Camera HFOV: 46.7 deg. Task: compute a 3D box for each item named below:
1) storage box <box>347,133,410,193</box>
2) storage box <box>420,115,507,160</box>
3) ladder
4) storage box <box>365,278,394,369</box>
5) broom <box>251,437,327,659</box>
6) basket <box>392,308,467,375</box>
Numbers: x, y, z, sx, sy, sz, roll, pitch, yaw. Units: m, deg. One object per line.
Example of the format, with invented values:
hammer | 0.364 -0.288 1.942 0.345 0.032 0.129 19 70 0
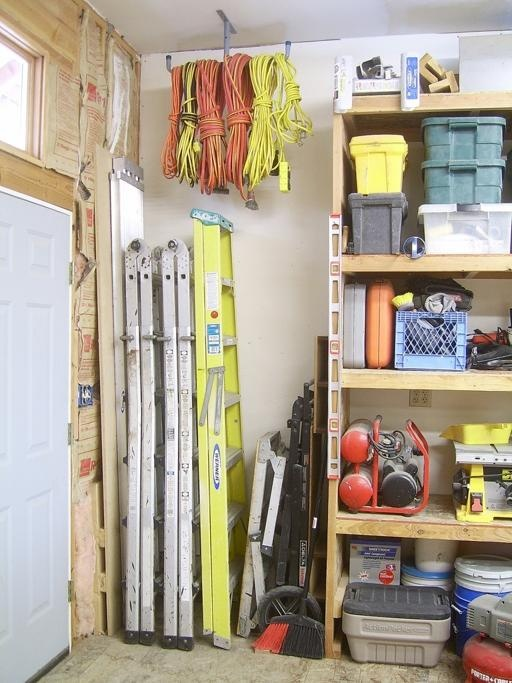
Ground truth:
storage box | 0.479 -0.690 2.294 0.227 0.238 0.212 0 6 6
storage box | 0.802 -0.739 2.273 0.242 0.130 0.190 2 4 17
ladder | -0.335 0.369 2.697 0.559 1.862 0.611 -1 3 -1
storage box | 0.503 -0.070 2.402 0.134 0.487 0.323 0 2 8
broom | 0.150 0.866 2.550 0.306 0.828 0.355 -1 3 7
basket | 0.687 0.003 2.326 0.223 0.222 0.244 1 0 11
